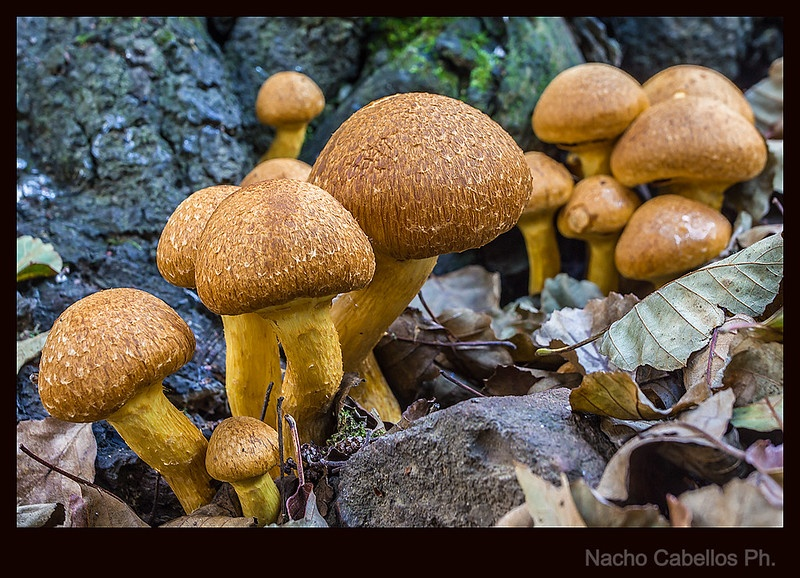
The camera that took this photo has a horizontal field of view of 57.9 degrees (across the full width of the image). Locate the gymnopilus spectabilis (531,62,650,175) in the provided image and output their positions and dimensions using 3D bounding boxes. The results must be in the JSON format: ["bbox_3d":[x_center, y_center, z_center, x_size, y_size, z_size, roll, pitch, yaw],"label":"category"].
[{"bbox_3d":[0.889,-0.794,3.556,0.494,0.565,0.490,-27,23,-26],"label":"gymnopilus spectabilis"}]

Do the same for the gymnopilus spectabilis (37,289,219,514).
[{"bbox_3d":[-0.853,0.356,2.351,0.473,0.586,0.546,5,58,8],"label":"gymnopilus spectabilis"}]

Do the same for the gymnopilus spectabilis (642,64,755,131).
[{"bbox_3d":[1.429,-0.963,3.476,0.411,0.236,0.403,7,20,-21],"label":"gymnopilus spectabilis"}]

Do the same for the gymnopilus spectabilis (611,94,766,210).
[{"bbox_3d":[1.309,-0.572,3.385,0.551,0.470,0.548,4,0,0],"label":"gymnopilus spectabilis"}]

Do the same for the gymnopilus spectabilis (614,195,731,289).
[{"bbox_3d":[1.257,-0.212,3.376,0.406,0.419,0.421,-9,23,37],"label":"gymnopilus spectabilis"}]
